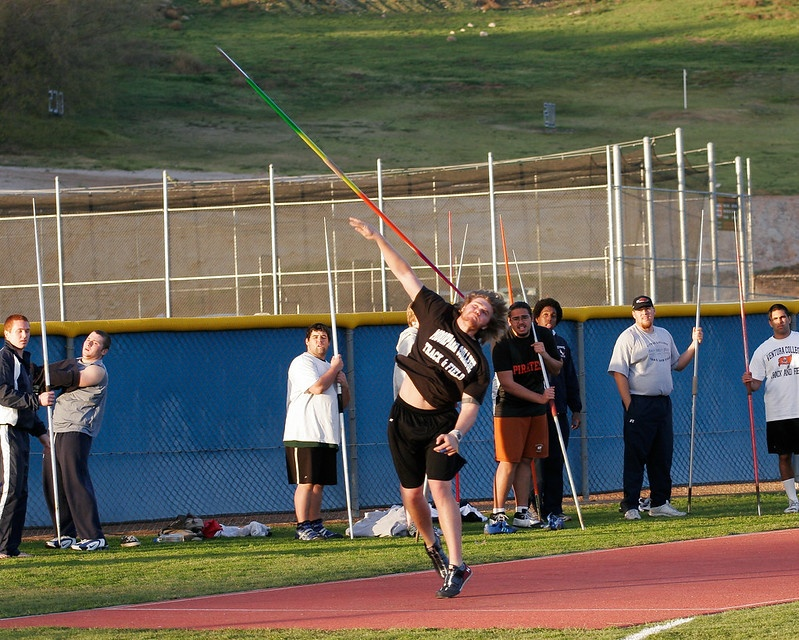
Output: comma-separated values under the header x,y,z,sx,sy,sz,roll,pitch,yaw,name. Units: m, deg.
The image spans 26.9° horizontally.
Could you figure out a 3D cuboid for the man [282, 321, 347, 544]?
x,y,z,sx,sy,sz,roll,pitch,yaw,name
-1.505,1.971,29.594,1.158,3.839,0.603,-5,0,-4,man
